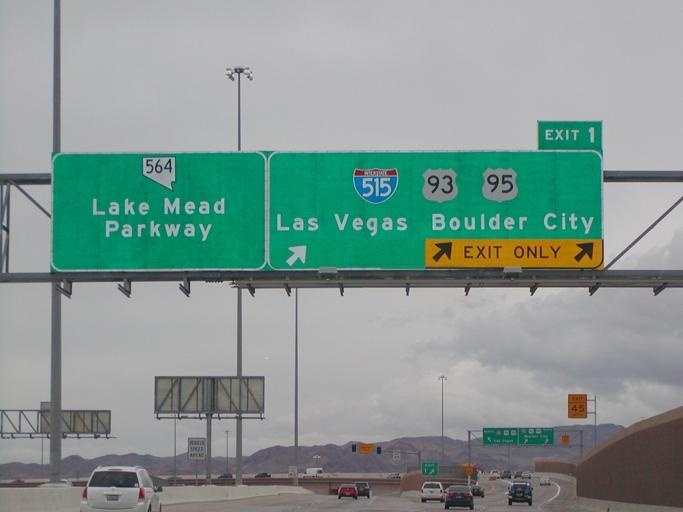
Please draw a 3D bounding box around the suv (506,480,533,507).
[{"bbox_3d":[12.955,17.623,138.057,1.247,1.330,3.084,0,3,8],"label":"suv"}]

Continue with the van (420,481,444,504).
[{"bbox_3d":[6.778,17.610,140.077,1.593,1.783,3.699,-1,-13,2],"label":"van"}]

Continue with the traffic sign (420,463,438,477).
[{"bbox_3d":[8.808,21.363,187.646,1.101,1.302,2.736,4,-14,-22],"label":"traffic sign"}]

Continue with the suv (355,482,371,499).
[{"bbox_3d":[1.984,19.508,155.679,0.906,0.942,1.758,1,3,5],"label":"suv"}]
